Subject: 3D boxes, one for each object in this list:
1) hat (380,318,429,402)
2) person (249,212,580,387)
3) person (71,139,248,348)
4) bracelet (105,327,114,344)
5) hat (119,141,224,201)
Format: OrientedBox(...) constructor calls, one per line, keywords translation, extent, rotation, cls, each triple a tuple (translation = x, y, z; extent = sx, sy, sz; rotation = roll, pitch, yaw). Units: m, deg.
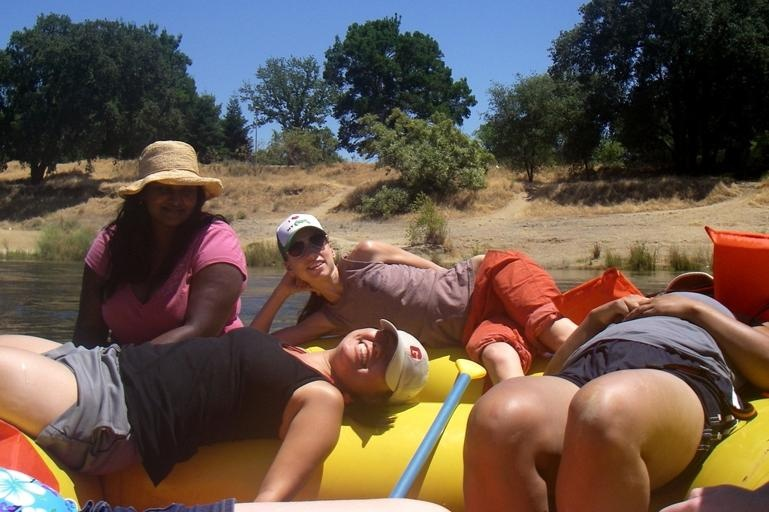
OrientedBox(translation=(0.119, 0.560, 3.759), extent=(0.195, 0.416, 0.277), rotation=(1, 38, 4), cls="hat")
OrientedBox(translation=(0.194, 0.534, 4.356), extent=(1.267, 0.560, 1.316), rotation=(20, -24, -30), cls="person")
OrientedBox(translation=(-1.202, 0.068, 4.647), extent=(0.867, 1.287, 1.297), rotation=(-2, -14, 4), cls="person")
OrientedBox(translation=(-1.682, 0.500, 4.373), extent=(0.059, 0.110, 0.104), rotation=(2, -3, -19), cls="bracelet")
OrientedBox(translation=(-1.305, -0.522, 4.440), extent=(0.564, 0.335, 0.558), rotation=(-6, -3, -12), cls="hat")
